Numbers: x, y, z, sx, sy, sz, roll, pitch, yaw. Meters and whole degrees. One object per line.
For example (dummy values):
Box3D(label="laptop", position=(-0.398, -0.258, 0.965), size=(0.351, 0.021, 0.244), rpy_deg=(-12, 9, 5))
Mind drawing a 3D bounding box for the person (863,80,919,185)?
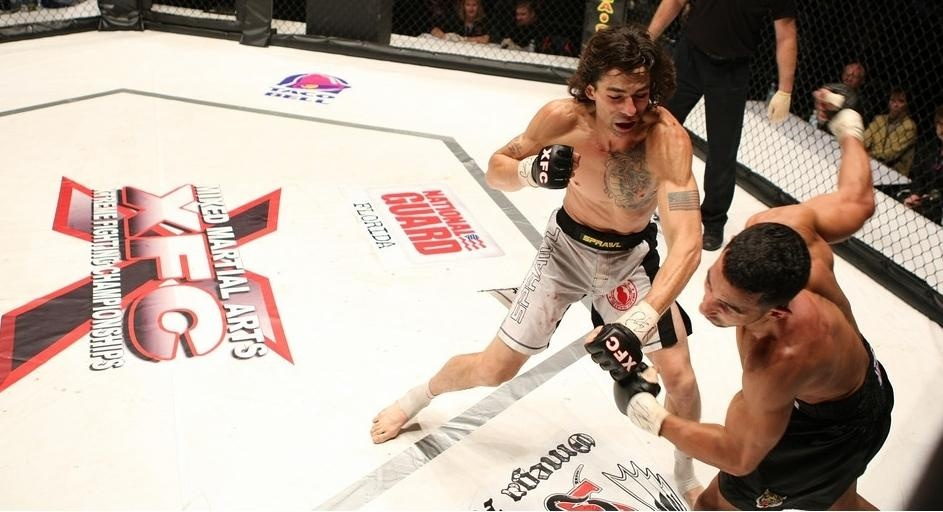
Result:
Box3D(label="person", position=(4.084, -1.070, 5.865), size=(0.359, 0.960, 0.291), rpy_deg=(-16, 30, 23))

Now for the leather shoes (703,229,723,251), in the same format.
Box3D(label="leather shoes", position=(2.062, -0.153, 5.174), size=(0.177, 0.169, 0.294), rpy_deg=(4, 23, 24))
